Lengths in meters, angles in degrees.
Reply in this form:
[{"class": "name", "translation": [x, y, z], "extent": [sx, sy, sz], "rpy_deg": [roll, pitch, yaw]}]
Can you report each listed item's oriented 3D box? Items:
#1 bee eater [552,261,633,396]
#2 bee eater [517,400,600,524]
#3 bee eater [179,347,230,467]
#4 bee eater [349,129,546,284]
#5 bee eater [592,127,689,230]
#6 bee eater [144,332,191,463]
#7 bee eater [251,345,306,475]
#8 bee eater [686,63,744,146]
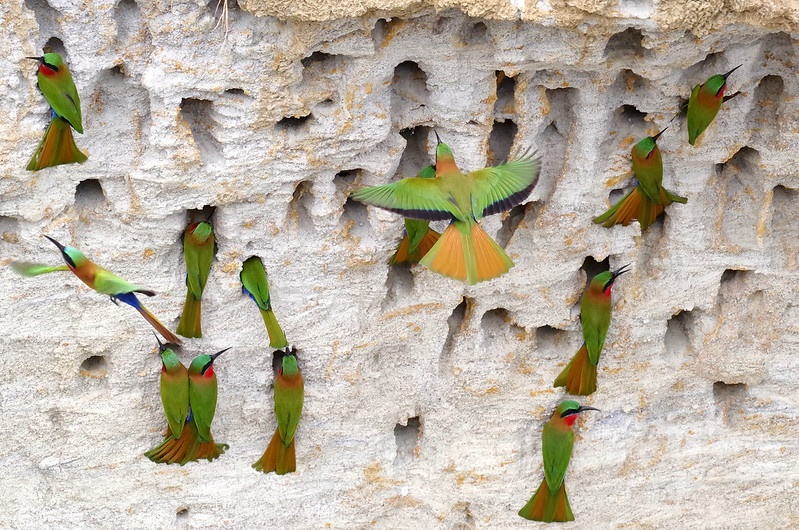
[{"class": "bee eater", "translation": [1.157, 0.413, 11.833], "extent": [0.392, 0.781, 0.325], "rpy_deg": [11, 0, 23]}, {"class": "bee eater", "translation": [0.981, 1.169, 12.077], "extent": [0.426, 0.790, 0.316], "rpy_deg": [11, 9, 17]}, {"class": "bee eater", "translation": [-1.187, 0.829, 11.555], "extent": [0.412, 0.689, 0.232], "rpy_deg": [-13, 26, -22]}, {"class": "bee eater", "translation": [0.231, -0.309, 10.904], "extent": [1.041, 0.849, 0.411], "rpy_deg": [12, 50, -5]}, {"class": "bee eater", "translation": [1.502, -0.462, 11.502], "extent": [0.307, 0.619, 0.654], "rpy_deg": [-3, -8, -42]}, {"class": "bee eater", "translation": [-1.366, 0.821, 11.575], "extent": [0.354, 0.643, 0.258], "rpy_deg": [-2, 9, -10]}, {"class": "bee eater", "translation": [-0.741, 0.887, 11.762], "extent": [0.288, 0.740, 0.268], "rpy_deg": [2, 17, -5]}, {"class": "bee eater", "translation": [1.764, -0.904, 11.150], "extent": [0.215, 0.465, 0.219], "rpy_deg": [21, 22, 8]}]
